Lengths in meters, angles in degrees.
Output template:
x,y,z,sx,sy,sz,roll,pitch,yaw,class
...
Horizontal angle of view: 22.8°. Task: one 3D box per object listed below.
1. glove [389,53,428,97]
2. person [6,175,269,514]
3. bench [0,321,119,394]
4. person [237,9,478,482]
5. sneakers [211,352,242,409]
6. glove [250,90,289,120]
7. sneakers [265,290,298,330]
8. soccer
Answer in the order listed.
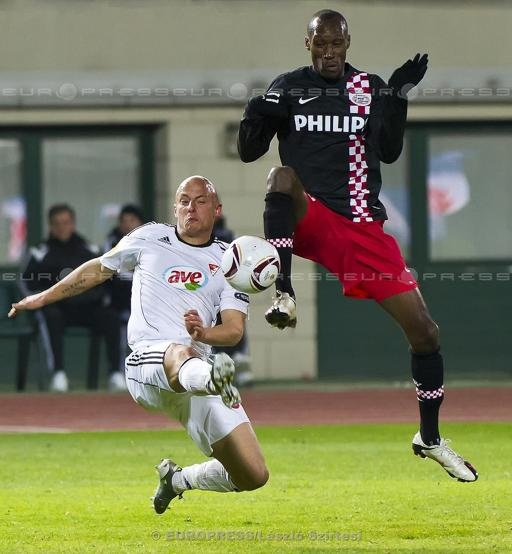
x,y,z,sx,sy,sz,roll,pitch,yaw,class
0.748,-0.999,6.097,0.141,0.059,0.257,-7,-7,-13,glove
-0.366,0.363,5.972,0.720,1.276,1.160,-2,1,-43,person
-1.420,0.527,8.880,0.466,0.406,0.667,-1,-20,-3,bench
0.537,-0.201,6.024,1.339,2.257,1.082,11,-18,-32,person
-0.144,0.427,5.438,0.089,0.258,0.119,-14,13,-13,sneakers
0.053,-0.812,5.998,0.206,0.094,0.055,-2,1,-29,glove
0.133,0.153,5.691,0.113,0.128,0.172,-23,8,26,sneakers
-0.024,-0.044,5.807,0.281,0.249,0.257,4,-45,-9,soccer
